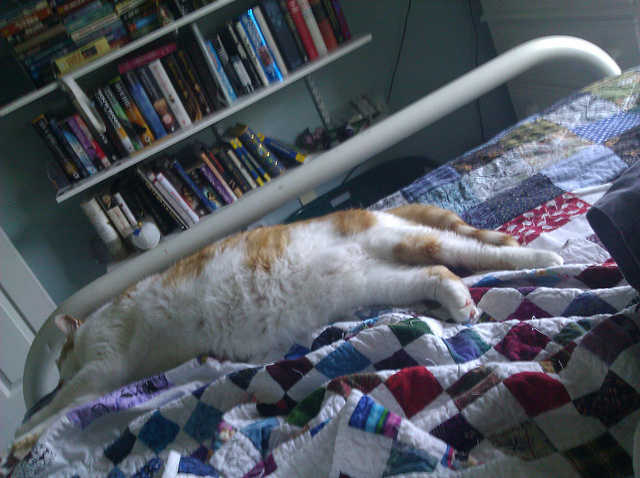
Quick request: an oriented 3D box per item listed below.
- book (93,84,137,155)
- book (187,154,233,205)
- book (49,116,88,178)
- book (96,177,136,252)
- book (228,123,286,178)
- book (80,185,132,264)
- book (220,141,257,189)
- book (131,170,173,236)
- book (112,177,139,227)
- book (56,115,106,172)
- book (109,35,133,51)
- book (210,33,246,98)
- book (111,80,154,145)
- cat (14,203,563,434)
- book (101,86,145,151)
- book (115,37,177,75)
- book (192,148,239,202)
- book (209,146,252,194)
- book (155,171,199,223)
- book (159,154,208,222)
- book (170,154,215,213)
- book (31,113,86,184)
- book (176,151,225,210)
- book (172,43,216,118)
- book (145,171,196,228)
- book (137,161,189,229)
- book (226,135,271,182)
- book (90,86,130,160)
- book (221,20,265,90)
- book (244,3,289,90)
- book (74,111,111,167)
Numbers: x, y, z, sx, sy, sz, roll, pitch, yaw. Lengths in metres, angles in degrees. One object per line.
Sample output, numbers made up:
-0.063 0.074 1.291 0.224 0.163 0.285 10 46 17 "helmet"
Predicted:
-0.790 -0.458 2.132 0.045 0.210 0.212 -24 64 -8 "book"
-0.436 -0.229 2.307 0.041 0.176 0.172 -39 42 -2 "book"
-0.978 -0.366 2.120 0.036 0.159 0.160 -36 76 -8 "book"
-0.809 -0.103 2.178 0.041 0.199 0.191 -26 37 -5 "book"
-0.237 -0.420 2.436 0.057 0.294 0.321 -44 62 24 "book"
-0.827 -0.033 2.191 0.058 0.265 0.263 -30 47 -2 "book"
-0.331 -0.315 2.355 0.032 0.149 0.142 -34 24 -8 "book"
-0.672 -0.139 2.221 0.046 0.204 0.198 -34 62 -4 "book"
-0.763 -0.121 2.167 0.030 0.136 0.142 -24 80 -9 "book"
-0.910 -0.370 2.135 0.041 0.182 0.177 -38 43 -7 "book"
-0.749 -0.733 2.069 0.105 0.029 0.026 -31 77 -8 "book"
-0.339 -0.704 2.199 0.040 0.185 0.194 -19 72 -7 "book"
-0.728 -0.501 2.154 0.039 0.180 0.170 -31 32 -10 "book"
-0.125 0.149 1.389 0.933 0.284 0.702 -24 -1 11 "cat"
-0.792 -0.482 2.137 0.030 0.175 0.169 -38 -6 34 "book"
-0.671 -0.705 2.145 0.174 0.044 0.182 -30 14 -10 "book"
-0.428 -0.261 2.302 0.052 0.220 0.224 -37 3 -7 "book"
-0.366 -0.277 2.387 0.034 0.160 0.162 -45 4 4 "book"
-0.576 -0.169 2.224 0.038 0.161 0.159 -38 54 -2 "book"
-0.568 -0.201 2.259 0.066 0.294 0.290 -33 70 -1 "book"
-0.523 -0.221 2.285 0.044 0.193 0.189 -34 52 -5 "book"
-1.069 -0.367 2.173 0.041 0.236 0.217 -32 53 -24 "book"
-0.495 -0.233 2.309 0.053 0.247 0.234 -34 44 -13 "book"
-0.480 -0.633 2.208 0.046 0.211 0.214 -25 61 -1 "book"
-0.595 -0.155 2.228 0.047 0.214 0.206 -35 39 -2 "book"
-0.647 -0.182 2.239 0.055 0.244 0.230 -38 16 -9 "book"
-0.294 -0.326 2.292 0.047 0.182 0.178 -36 -3 -6 "book"
-0.819 -0.442 2.163 0.050 0.245 0.227 -21 11 -11 "book"
-0.305 -0.737 2.205 0.044 0.205 0.208 -24 70 -9 "book"
-0.215 -0.753 2.220 0.058 0.282 0.270 -23 28 0 "book"
-0.871 -0.390 2.135 0.038 0.165 0.168 -29 75 -10 "book"
